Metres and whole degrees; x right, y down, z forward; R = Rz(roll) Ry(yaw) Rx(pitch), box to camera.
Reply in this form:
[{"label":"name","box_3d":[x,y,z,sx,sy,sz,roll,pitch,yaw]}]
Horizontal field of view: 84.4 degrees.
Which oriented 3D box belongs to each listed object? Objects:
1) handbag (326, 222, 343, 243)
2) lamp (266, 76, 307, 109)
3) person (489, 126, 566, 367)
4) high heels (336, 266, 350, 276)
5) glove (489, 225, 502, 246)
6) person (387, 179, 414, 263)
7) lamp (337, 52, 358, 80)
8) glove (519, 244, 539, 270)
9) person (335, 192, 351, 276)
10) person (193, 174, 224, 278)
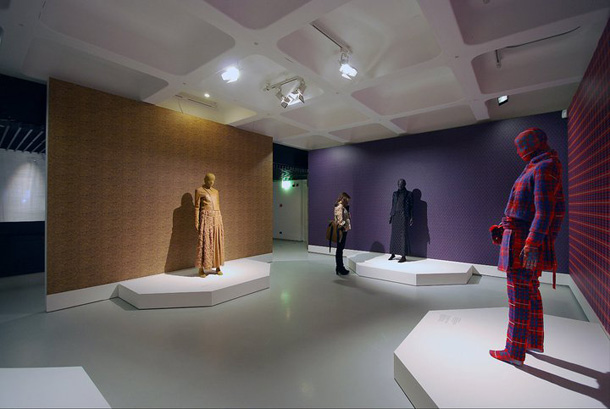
[{"label":"handbag","box_3d":[0.629,0.584,7.186,0.426,0.448,0.184,13,19,42]},{"label":"lamp","box_3d":[-0.336,-2.118,6.383,0.829,0.510,0.669,3,15,14]},{"label":"person","box_3d":[2.690,0.504,4.067,0.617,2.760,0.850,9,17,32]},{"label":"high heels","box_3d":[0.817,1.463,7.410,0.268,0.170,0.151,-3,-1,7]},{"label":"glove","box_3d":[2.430,0.386,4.399,0.197,0.255,0.277,-3,0,28]},{"label":"person","box_3d":[2.220,0.409,7.853,0.495,1.950,0.870,4,15,18]},{"label":"lamp","box_3d":[0.633,-2.260,5.376,0.301,0.482,0.179,3,5,-19]},{"label":"glove","box_3d":[2.588,0.586,3.945,0.249,0.269,0.197,-5,6,-44]},{"label":"person","box_3d":[0.799,0.660,7.301,0.329,1.815,0.552,2,15,10]},{"label":"person","box_3d":[-1.877,0.394,6.493,0.513,1.895,0.652,-5,15,-18]}]
